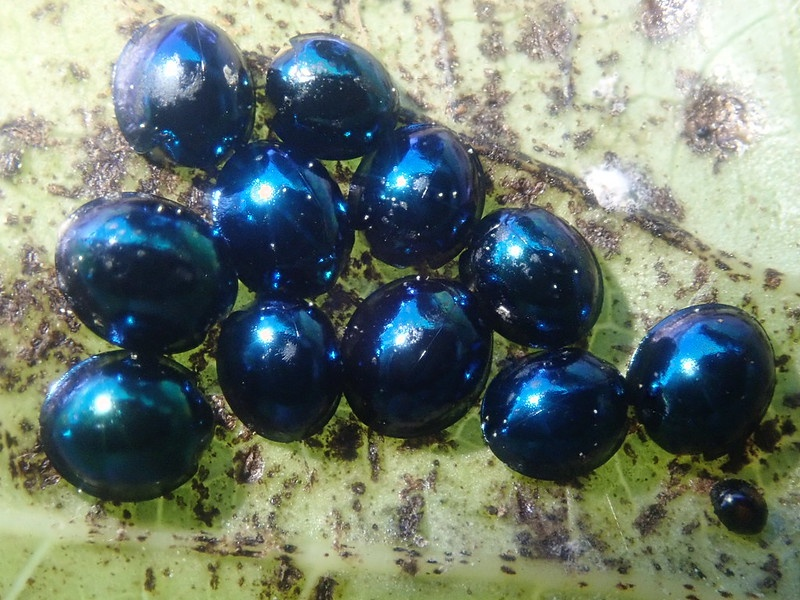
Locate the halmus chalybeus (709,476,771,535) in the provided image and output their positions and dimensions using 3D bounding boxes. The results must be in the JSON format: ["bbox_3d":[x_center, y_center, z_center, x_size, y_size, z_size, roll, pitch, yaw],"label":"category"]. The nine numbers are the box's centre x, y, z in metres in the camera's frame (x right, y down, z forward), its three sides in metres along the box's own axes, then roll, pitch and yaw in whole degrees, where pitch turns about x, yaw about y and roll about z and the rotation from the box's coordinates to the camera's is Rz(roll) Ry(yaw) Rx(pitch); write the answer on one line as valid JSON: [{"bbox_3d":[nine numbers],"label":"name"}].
[{"bbox_3d":[1.799,1.097,4.956,0.223,0.090,0.298,-14,78,-1],"label":"halmus chalybeus"}]
